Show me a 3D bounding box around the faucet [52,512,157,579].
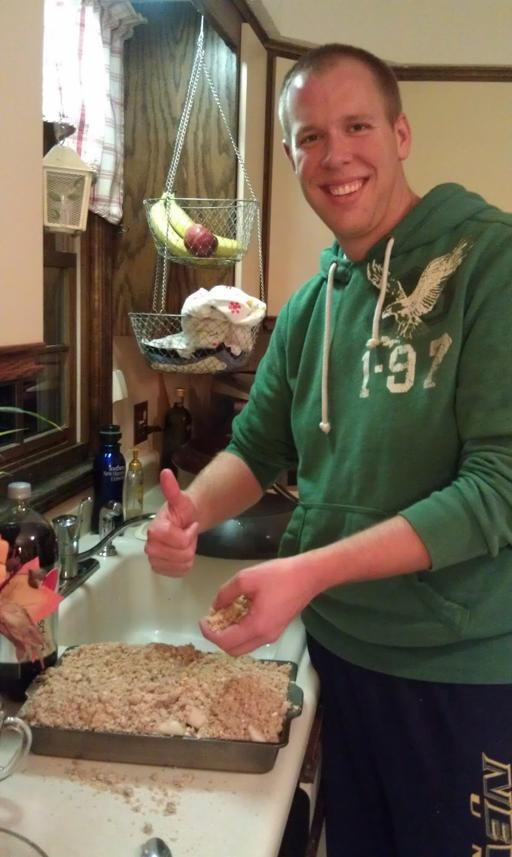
[{"bbox_3d":[-0.270,0.206,1.268,0.163,0.072,0.086,2,9,24],"label":"faucet"}]

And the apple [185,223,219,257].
[{"bbox_3d":[-0.100,-0.343,1.307,0.048,0.036,0.065,-8,-34,0],"label":"apple"}]

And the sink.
[{"bbox_3d":[-0.173,0.283,1.372,0.232,0.132,0.326,4,19,9],"label":"sink"}]

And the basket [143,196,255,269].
[{"bbox_3d":[-0.121,-0.394,1.434,0.191,0.097,0.197,-2,6,-23],"label":"basket"}]

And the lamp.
[{"bbox_3d":[-0.326,-0.413,1.222,0.096,0.139,0.095,-4,8,-27],"label":"lamp"}]
